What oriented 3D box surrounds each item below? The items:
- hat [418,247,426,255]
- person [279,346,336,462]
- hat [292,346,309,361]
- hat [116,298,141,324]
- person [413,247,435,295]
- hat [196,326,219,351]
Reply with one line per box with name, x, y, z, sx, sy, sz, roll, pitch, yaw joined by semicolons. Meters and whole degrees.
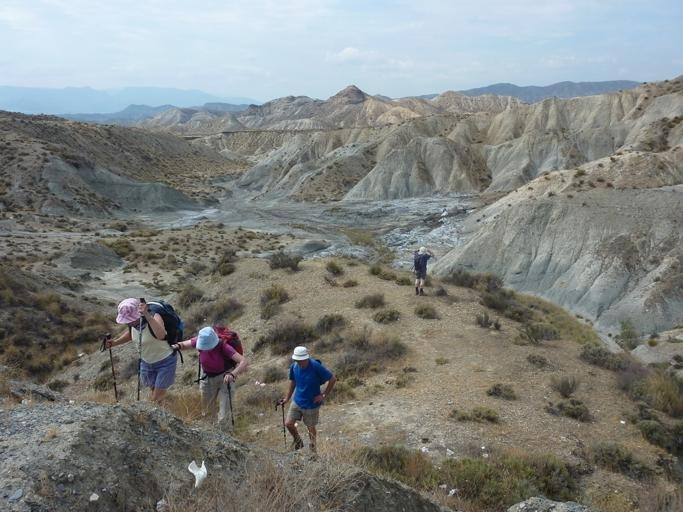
hat;3.490;-0.203;24.132;0.374;0.357;0.393;4;17;10
person;-0.897;3.763;14.315;1.284;2.835;1.299;-1;19;-6
hat;-1.045;2.507;14.389;0.370;0.417;0.658;-1;16;-5
hat;-5.215;1.416;13.790;0.585;0.606;0.490;-6;19;-20
person;3.548;0.643;24.805;0.724;2.332;1.074;3;19;7
hat;-3.426;2.074;14.334;0.608;0.325;0.642;3;35;3
